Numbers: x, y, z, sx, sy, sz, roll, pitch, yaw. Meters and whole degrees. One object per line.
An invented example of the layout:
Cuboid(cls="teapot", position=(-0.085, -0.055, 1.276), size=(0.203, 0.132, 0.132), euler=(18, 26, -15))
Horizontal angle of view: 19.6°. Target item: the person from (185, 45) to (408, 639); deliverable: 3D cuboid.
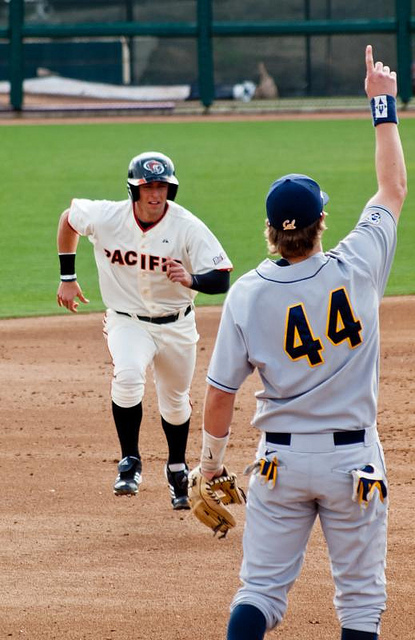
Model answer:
Cuboid(cls="person", position=(0.408, 0.161, 4.380), size=(0.823, 1.863, 0.698), euler=(-2, 8, -18))

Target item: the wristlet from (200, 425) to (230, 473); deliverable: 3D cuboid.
Cuboid(cls="wristlet", position=(0.027, 0.486, 4.455), size=(0.092, 0.194, 0.133), euler=(0, 7, -4))

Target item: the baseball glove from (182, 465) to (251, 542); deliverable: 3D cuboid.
Cuboid(cls="baseball glove", position=(0.034, 0.669, 4.696), size=(0.269, 0.138, 0.351), euler=(8, 10, -21))

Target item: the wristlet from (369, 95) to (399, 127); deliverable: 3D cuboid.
Cuboid(cls="wristlet", position=(0.696, -0.836, 4.755), size=(0.100, 0.126, 0.197), euler=(1, 7, 7))

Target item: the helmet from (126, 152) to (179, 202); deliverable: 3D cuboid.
Cuboid(cls="helmet", position=(-0.270, -0.710, 5.881), size=(0.238, 0.243, 0.353), euler=(2, 8, 16))

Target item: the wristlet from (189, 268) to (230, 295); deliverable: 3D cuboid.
Cuboid(cls="wristlet", position=(0.009, -0.192, 5.718), size=(0.122, 0.126, 0.364), euler=(5, 9, 33))
